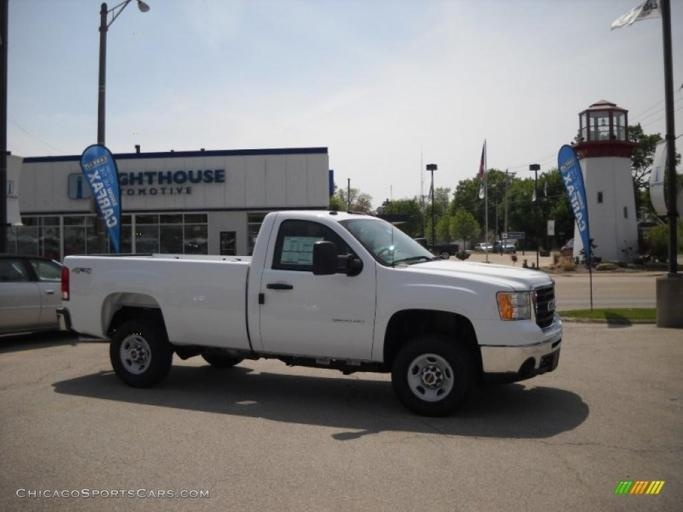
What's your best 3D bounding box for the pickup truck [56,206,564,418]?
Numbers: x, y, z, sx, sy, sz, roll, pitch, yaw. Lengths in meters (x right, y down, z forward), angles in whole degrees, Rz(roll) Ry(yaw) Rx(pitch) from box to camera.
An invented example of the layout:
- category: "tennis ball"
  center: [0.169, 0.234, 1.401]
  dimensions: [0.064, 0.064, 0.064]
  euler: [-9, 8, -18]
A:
- category: "pickup truck"
  center: [-0.582, 0.702, 8.073]
  dimensions: [6.949, 2.683, 1.078]
  euler: [1, 3, 20]
